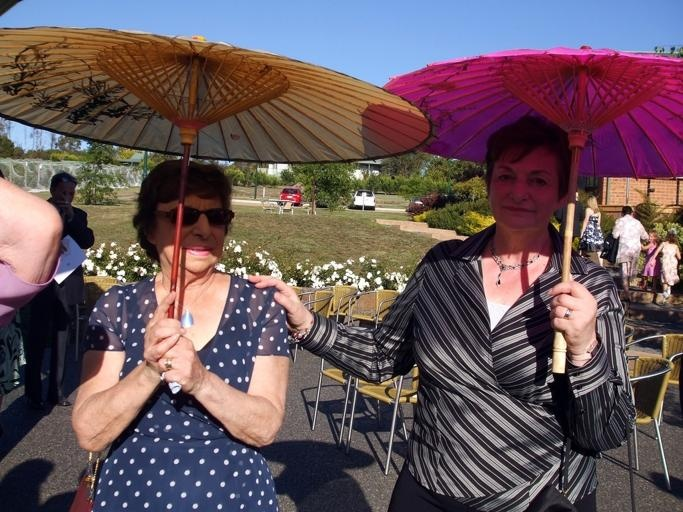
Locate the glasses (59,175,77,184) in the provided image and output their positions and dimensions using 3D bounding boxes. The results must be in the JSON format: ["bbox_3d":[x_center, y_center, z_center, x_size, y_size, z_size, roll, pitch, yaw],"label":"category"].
[{"bbox_3d":[-3.085,-0.880,6.111,0.104,0.107,0.104,3,19,-7],"label":"glasses"}]

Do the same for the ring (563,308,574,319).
[{"bbox_3d":[0.770,0.193,1.824,0.022,0.025,0.025,7,5,-24],"label":"ring"}]

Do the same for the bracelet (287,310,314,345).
[{"bbox_3d":[-0.189,0.337,2.558,0.137,0.125,0.162,-3,-14,-6],"label":"bracelet"}]

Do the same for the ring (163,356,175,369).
[{"bbox_3d":[-0.584,0.354,1.815,0.032,0.032,0.009,-1,-1,0],"label":"ring"}]

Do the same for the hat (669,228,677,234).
[{"bbox_3d":[8.557,-0.631,13.936,0.162,0.082,0.202,0,-3,0],"label":"hat"}]

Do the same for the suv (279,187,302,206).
[{"bbox_3d":[-3.430,-4.085,37.815,0.988,0.882,2.204,3,14,2],"label":"suv"}]

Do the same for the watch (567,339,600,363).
[{"bbox_3d":[0.839,0.335,1.876,0.082,0.080,0.088,-1,2,23],"label":"watch"}]

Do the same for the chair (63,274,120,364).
[{"bbox_3d":[-3.720,0.912,8.120,0.705,1.226,0.729,-6,34,-20],"label":"chair"}]

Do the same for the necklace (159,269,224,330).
[{"bbox_3d":[-0.624,0.158,2.116,0.124,0.236,0.060,14,-11,2],"label":"necklace"}]
